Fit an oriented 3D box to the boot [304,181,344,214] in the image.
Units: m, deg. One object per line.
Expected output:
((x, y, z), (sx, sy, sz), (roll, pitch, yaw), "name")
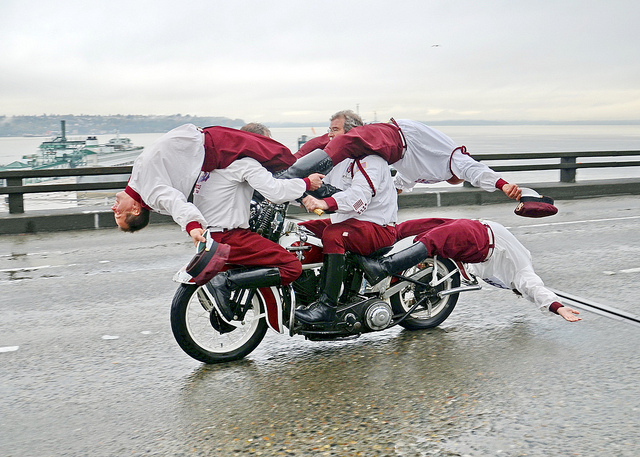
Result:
((-0.016, -0.292, 4.271), (0.412, 0.102, 0.273), (11, 25, 16), "boot")

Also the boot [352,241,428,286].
((0.702, 0.316, 4.426), (0.628, 0.231, 0.406), (-18, 7, -15), "boot")

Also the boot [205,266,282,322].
((-0.679, 0.497, 3.953), (0.685, 0.488, 0.204), (4, 44, -6), "boot")

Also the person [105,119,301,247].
((-1.053, -0.485, 3.729), (1.528, 0.500, 1.438), (-25, 16, -6), "person")

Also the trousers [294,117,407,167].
((0.310, -0.819, 4.465), (1.217, 0.253, 0.539), (-13, 29, -8), "trousers")

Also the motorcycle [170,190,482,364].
((0.153, 0.393, 4.417), (3.385, 1.294, 1.398), (-1, -2, -34), "motorcycle")

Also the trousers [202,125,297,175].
((-0.677, -0.644, 4.015), (0.919, 0.185, 0.466), (7, -7, -6), "trousers")

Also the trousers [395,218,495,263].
((1.224, 0.154, 4.774), (1.334, 0.294, 0.680), (-7, 9, -10), "trousers")
